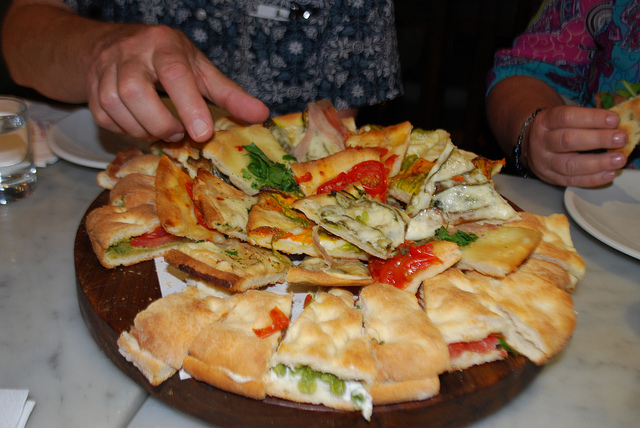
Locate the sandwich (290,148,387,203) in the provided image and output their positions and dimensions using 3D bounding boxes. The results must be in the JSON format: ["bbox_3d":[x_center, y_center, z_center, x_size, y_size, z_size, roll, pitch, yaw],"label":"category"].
[{"bbox_3d":[0.178,-0.331,3.503,0.500,0.160,0.509,-2,46,0],"label":"sandwich"}]

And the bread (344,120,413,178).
[{"bbox_3d":[0.543,-0.644,3.886,0.554,0.205,0.547,-31,49,-15],"label":"bread"}]

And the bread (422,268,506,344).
[{"bbox_3d":[0.857,0.508,2.639,0.325,0.118,0.415,-9,52,-17],"label":"bread"}]

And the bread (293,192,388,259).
[{"bbox_3d":[0.193,0.205,3.225,0.503,0.844,0.110,4,68,1],"label":"bread"}]

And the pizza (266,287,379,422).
[{"bbox_3d":[0.058,0.767,2.617,0.609,0.274,0.741,5,45,10],"label":"pizza"}]

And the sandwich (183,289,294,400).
[{"bbox_3d":[-0.499,0.767,2.797,0.566,0.275,0.943,10,20,3],"label":"sandwich"}]

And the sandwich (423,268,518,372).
[{"bbox_3d":[0.875,0.623,2.620,0.378,0.180,0.601,-16,60,-13],"label":"sandwich"}]

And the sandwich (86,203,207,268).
[{"bbox_3d":[-1.269,0.128,3.204,0.719,0.243,0.463,-13,45,-30],"label":"sandwich"}]

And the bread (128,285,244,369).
[{"bbox_3d":[-0.794,0.677,2.794,0.483,0.228,0.820,19,24,31],"label":"bread"}]

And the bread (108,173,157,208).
[{"bbox_3d":[-1.452,-0.179,3.373,0.336,0.129,0.289,22,42,28],"label":"bread"}]

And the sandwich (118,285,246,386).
[{"bbox_3d":[-0.801,0.658,2.650,0.668,0.182,0.407,-37,53,-26],"label":"sandwich"}]

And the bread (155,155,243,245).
[{"bbox_3d":[-1.002,-0.107,3.265,0.494,0.123,0.653,-33,85,11],"label":"bread"}]

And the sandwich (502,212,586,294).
[{"bbox_3d":[1.690,0.379,3.323,0.570,0.173,0.590,5,41,-1],"label":"sandwich"}]

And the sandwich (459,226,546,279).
[{"bbox_3d":[1.209,0.243,2.925,0.325,0.123,0.464,16,37,37],"label":"sandwich"}]

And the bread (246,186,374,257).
[{"bbox_3d":[-0.116,0.121,3.220,0.783,0.212,0.448,22,48,-12],"label":"bread"}]

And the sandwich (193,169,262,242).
[{"bbox_3d":[-0.739,-0.077,3.261,0.515,0.167,0.518,51,20,27],"label":"sandwich"}]

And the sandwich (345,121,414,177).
[{"bbox_3d":[0.546,-0.620,3.880,0.533,0.188,0.549,-11,50,13],"label":"sandwich"}]

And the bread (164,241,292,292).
[{"bbox_3d":[-0.600,0.337,2.934,0.701,0.129,0.385,14,23,-23],"label":"bread"}]

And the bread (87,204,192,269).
[{"bbox_3d":[-1.396,0.129,3.185,0.539,0.227,0.562,-32,50,-26],"label":"bread"}]

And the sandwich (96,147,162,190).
[{"bbox_3d":[-1.637,-0.383,3.652,0.427,0.140,0.428,-27,25,4],"label":"sandwich"}]
